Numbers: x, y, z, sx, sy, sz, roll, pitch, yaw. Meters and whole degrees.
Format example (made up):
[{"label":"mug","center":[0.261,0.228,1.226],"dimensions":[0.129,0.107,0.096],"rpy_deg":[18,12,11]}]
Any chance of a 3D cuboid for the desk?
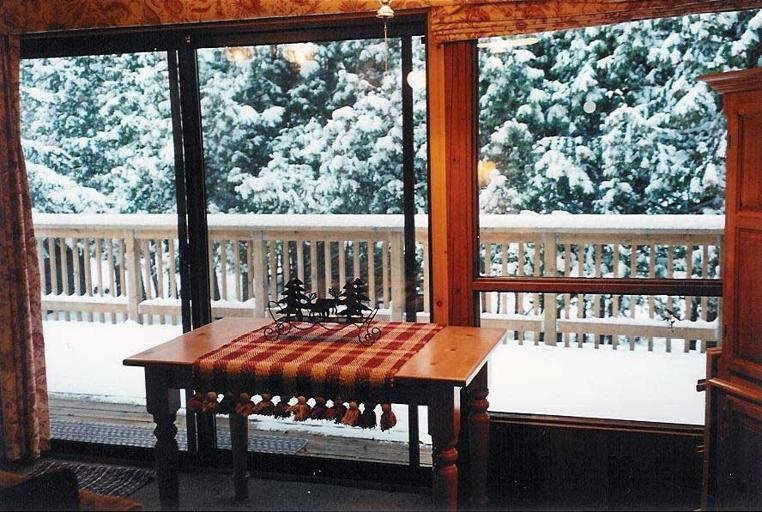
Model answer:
[{"label":"desk","center":[-0.215,0.845,3.729],"dimensions":[1.653,1.025,0.820],"rpy_deg":[-1,5,9]}]
